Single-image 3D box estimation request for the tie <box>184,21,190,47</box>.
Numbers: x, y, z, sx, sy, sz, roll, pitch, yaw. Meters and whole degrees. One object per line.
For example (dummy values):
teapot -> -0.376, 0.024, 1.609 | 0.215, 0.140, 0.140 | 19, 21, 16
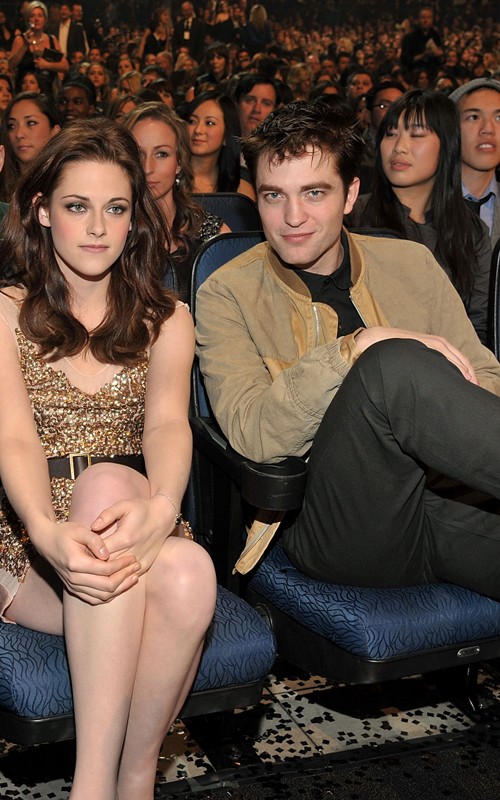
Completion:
tie -> -0.545, -3.142, 5.470 | 0.094, 0.161, 0.092 | 0, 11, -8
